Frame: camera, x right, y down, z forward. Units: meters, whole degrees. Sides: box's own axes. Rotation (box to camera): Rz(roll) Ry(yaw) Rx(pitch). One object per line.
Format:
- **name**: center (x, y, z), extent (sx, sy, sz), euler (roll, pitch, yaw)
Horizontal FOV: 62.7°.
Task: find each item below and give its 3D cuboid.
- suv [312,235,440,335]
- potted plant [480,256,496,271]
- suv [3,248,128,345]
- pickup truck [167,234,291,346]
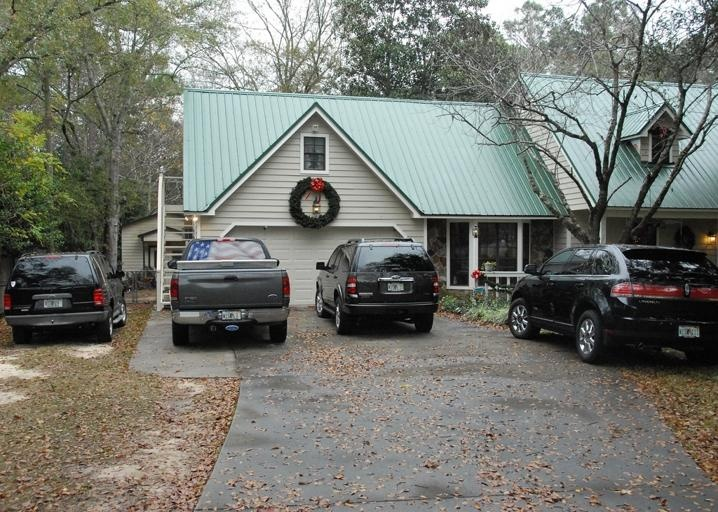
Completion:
- **suv**: center (0.281, 0.594, 14.784), extent (1.900, 1.402, 3.312), euler (1, 3, -10)
- **potted plant**: center (4.686, 0.292, 21.283), extent (0.573, 0.391, 0.551), euler (1, -6, 0)
- **suv**: center (-6.743, 0.782, 14.105), extent (1.855, 1.422, 3.065), euler (-1, 4, -11)
- **pickup truck**: center (-3.218, 0.558, 14.270), extent (2.675, 2.044, 4.930), euler (0, 7, -11)
